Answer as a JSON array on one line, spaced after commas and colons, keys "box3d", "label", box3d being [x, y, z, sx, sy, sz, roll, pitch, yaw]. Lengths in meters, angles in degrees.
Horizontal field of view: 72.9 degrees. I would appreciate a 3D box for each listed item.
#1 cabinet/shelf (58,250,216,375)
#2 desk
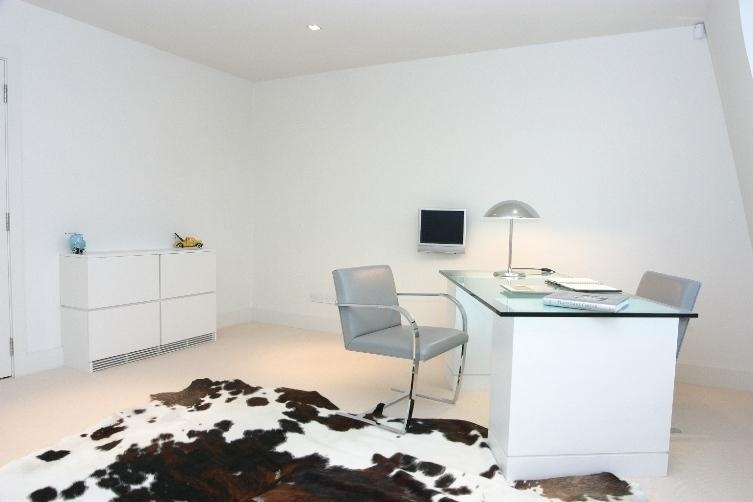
[{"box3d": [-2.463, 0.556, 5.387, 0.575, 1.084, 1.545, 2, 3, 28], "label": "cabinet/shelf"}, {"box3d": [1.405, 0.887, 3.664, 1.122, 0.956, 2.030, -1, 1, -6], "label": "desk"}]
